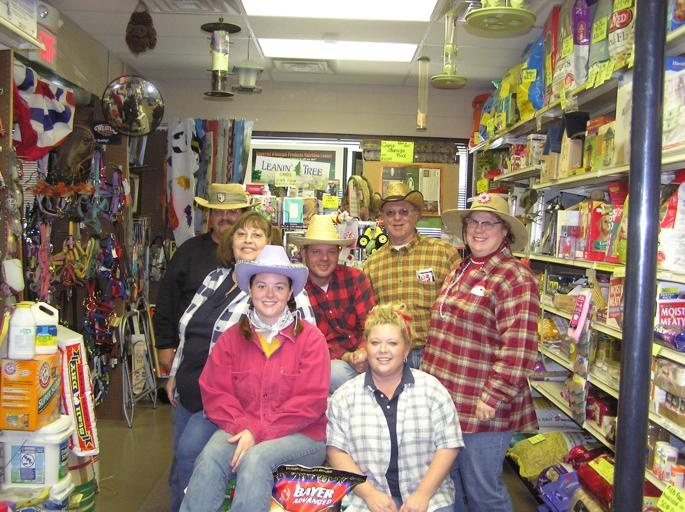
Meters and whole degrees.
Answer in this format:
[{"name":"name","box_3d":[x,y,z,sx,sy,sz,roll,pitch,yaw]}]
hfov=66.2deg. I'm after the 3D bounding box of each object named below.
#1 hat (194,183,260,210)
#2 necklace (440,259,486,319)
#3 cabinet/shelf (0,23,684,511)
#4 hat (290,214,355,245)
[{"name":"hat","box_3d":[-0.948,-0.510,4.406,0.461,0.201,0.521,1,-3,-6]},{"name":"necklace","box_3d":[0.737,0.212,3.178,0.136,0.252,0.253,24,-25,-14]},{"name":"cabinet/shelf","box_3d":[-0.161,0.022,3.806,3.560,2.542,1.994,3,-10,-11]},{"name":"hat","box_3d":[-0.154,-0.153,3.618,0.242,0.129,0.304,3,-9,-13]}]
